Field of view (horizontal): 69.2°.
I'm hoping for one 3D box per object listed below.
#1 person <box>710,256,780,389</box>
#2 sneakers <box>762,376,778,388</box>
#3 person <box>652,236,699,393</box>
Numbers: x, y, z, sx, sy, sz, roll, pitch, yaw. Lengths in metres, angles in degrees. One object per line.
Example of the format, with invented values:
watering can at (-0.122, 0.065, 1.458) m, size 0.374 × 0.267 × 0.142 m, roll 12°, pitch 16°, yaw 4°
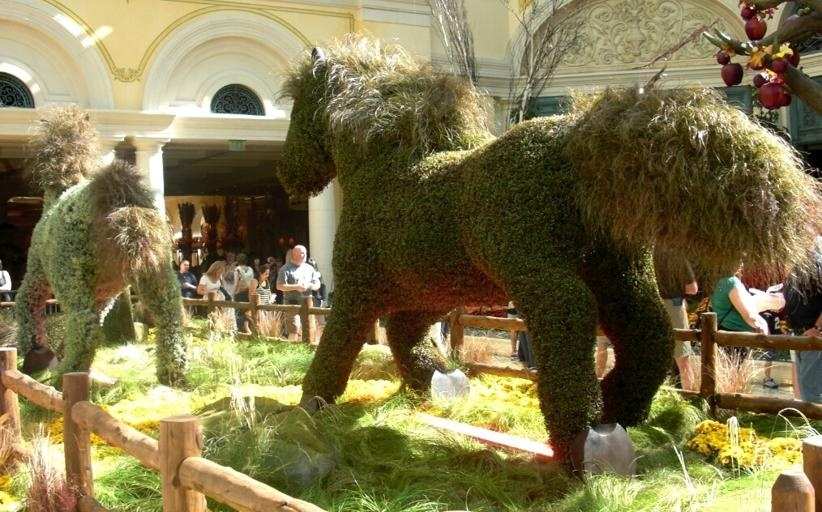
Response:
person at (3.343, 0.693, 6.006) m, size 0.492 × 1.498 × 0.445 m, roll -4°, pitch 10°, yaw 18°
sneakers at (4.209, 1.480, 6.955) m, size 0.194 × 0.090 × 0.100 m, roll -2°, pitch 5°, yaw -40°
person at (2.484, 0.625, 5.594) m, size 0.363 × 1.348 × 2.202 m, roll 0°, pitch 0°, yaw 26°
